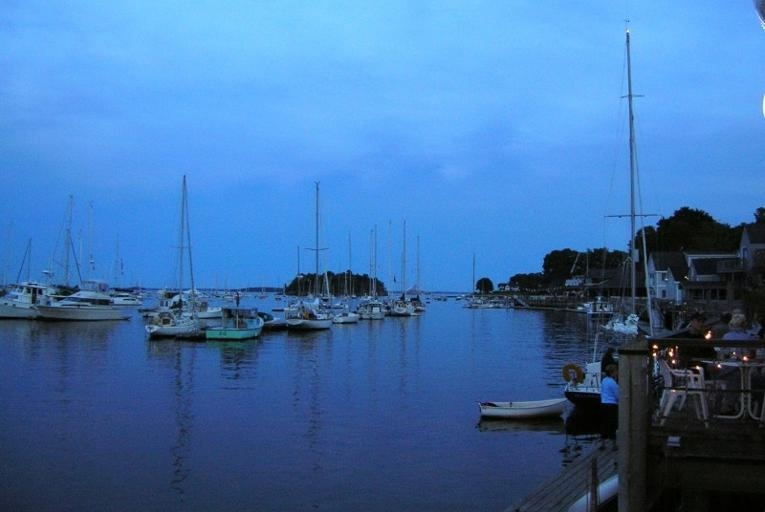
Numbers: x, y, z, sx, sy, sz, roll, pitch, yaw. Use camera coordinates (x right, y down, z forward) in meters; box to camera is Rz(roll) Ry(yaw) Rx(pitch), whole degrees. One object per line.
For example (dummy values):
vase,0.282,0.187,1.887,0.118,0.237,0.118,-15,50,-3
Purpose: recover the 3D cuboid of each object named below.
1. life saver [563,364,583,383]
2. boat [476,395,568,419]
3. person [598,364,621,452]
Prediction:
life saver,8.917,5.534,42.954,0.966,0.974,0.249,-16,-7,40
boat,6.521,7.129,42.751,4.062,0.833,0.522,0,8,-6
person,9.429,5.990,37.763,0.859,3.048,0.918,-4,10,-16
